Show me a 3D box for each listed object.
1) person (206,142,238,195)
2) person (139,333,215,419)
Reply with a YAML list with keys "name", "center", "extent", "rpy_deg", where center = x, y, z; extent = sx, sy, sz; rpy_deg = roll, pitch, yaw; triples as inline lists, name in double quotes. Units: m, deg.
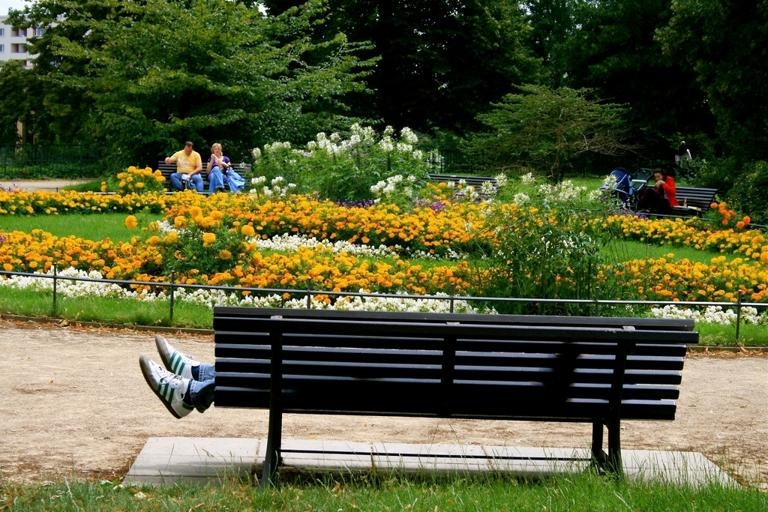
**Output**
- name: "person"
  center: [-5.023, -2.787, 49.987]
  extent: [0.990, 1.549, 2.191]
  rpy_deg: [1, 4, -7]
- name: "person"
  center: [-4.522, 2.781, 35.977]
  extent: [0.965, 2.058, 1.418]
  rpy_deg: [-28, 7, 17]
